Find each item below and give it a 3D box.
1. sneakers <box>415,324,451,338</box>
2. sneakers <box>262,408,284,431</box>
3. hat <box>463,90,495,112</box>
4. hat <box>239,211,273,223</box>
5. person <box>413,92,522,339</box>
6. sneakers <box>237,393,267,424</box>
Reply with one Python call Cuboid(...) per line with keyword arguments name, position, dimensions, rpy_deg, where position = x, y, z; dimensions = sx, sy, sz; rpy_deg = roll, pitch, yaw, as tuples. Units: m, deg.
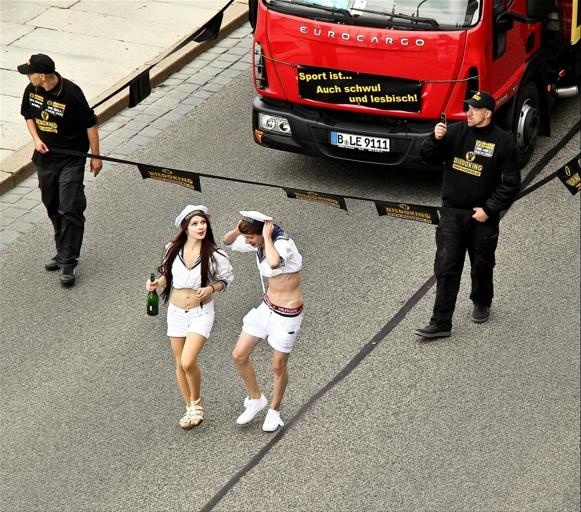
Cuboid(name="sneakers", position=(1.263, 0.670, 5.457), dimensions=(0.352, 0.120, 0.120), rpy_deg=(2, 4, -14))
Cuboid(name="sneakers", position=(-0.122, 1.198, 4.503), dimensions=(0.098, 0.092, 0.230), rpy_deg=(2, 10, 12))
Cuboid(name="hat", position=(1.508, -1.222, 4.881), dimensions=(0.243, 0.123, 0.159), rpy_deg=(17, 16, -16))
Cuboid(name="hat", position=(-0.218, -0.261, 4.023), dimensions=(0.149, 0.039, 0.124), rpy_deg=(0, 12, -23))
Cuboid(name="person", position=(1.474, -0.297, 5.185), dimensions=(0.828, 1.958, 1.153), rpy_deg=(6, 46, 6))
Cuboid(name="sneakers", position=(-0.282, 1.152, 4.579), dimensions=(0.245, 0.109, 0.083), rpy_deg=(-44, 36, 7))
